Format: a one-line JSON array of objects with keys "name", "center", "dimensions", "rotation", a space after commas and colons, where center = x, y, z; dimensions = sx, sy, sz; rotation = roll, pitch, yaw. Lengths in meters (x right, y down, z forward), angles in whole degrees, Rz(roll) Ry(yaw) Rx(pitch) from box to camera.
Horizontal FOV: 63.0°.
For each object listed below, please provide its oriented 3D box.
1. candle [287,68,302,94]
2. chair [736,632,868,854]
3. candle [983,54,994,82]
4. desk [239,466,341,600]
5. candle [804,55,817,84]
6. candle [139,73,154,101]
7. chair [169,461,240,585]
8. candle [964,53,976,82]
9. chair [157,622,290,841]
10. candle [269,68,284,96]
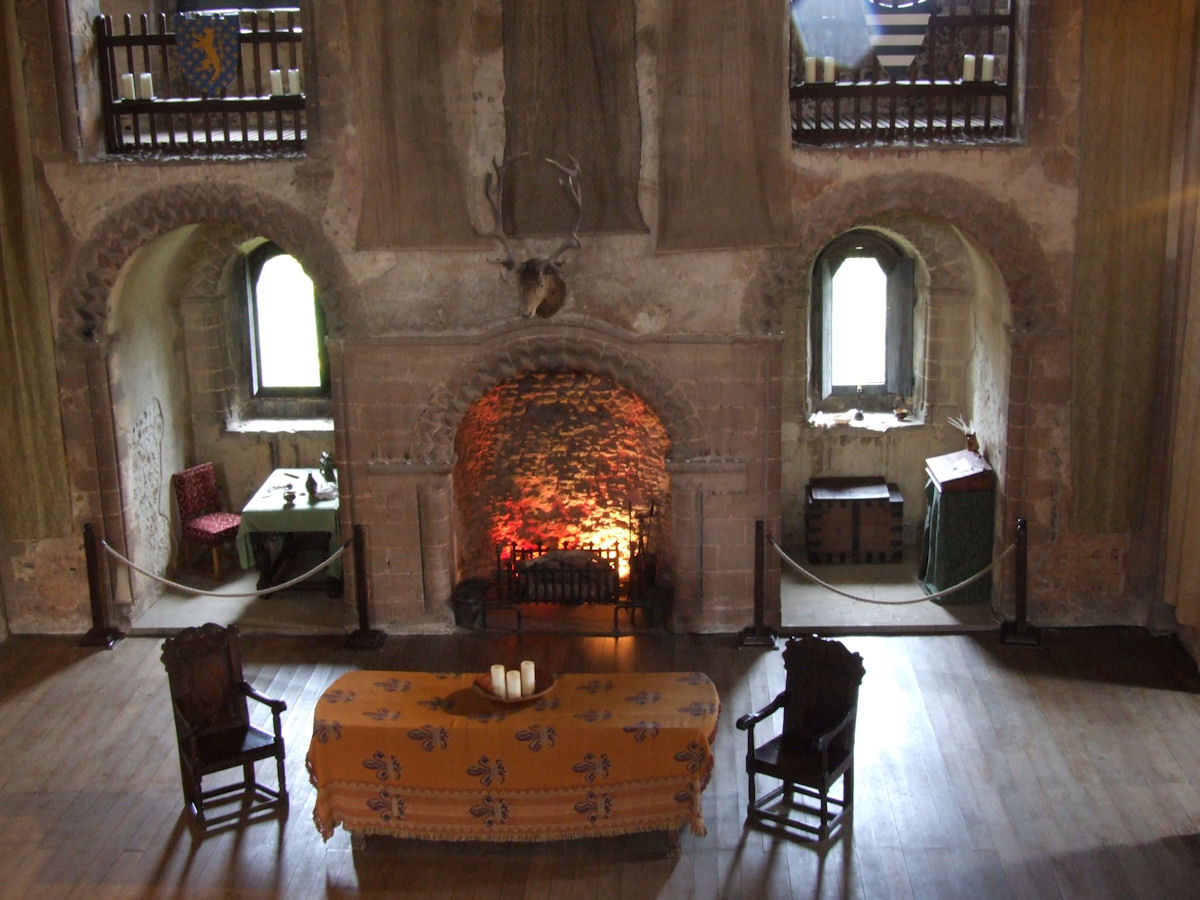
[{"name": "candle", "center": [-2.859, -3.461, 9.179], "dimensions": [0.130, 0.304, 0.328], "rotation": [-3, 5, -16]}, {"name": "chair", "center": [1.438, 2.026, 6.933], "dimensions": [0.822, 1.385, 0.838], "rotation": [-1, 5, 10]}, {"name": "candle", "center": [3.542, -3.508, 8.964], "dimensions": [0.167, 0.215, 0.080], "rotation": [-6, 7, -43]}, {"name": "desk", "center": [-3.549, 1.150, 11.175], "dimensions": [1.184, 0.933, 1.562], "rotation": [0, -7, -25]}, {"name": "candle", "center": [1.921, -3.446, 8.913], "dimensions": [0.101, 0.230, 0.282], "rotation": [0, 5, 15]}, {"name": "candle", "center": [-4.277, -3.431, 9.225], "dimensions": [0.123, 0.239, 0.253], "rotation": [-5, 6, -33]}, {"name": "chair", "center": [-4.384, 0.815, 11.174], "dimensions": [0.797, 1.183, 0.866], "rotation": [-1, 14, -9]}, {"name": "candle", "center": [3.409, -3.536, 9.040], "dimensions": [0.125, 0.268, 0.426], "rotation": [0, 5, 20]}, {"name": "chair", "center": [-2.751, 1.997, 7.237], "dimensions": [0.788, 1.435, 0.891], "rotation": [-5, 6, -36]}, {"name": "candle", "center": [-3.001, -3.437, 9.154], "dimensions": [0.126, 0.263, 0.219], "rotation": [-3, 5, -19]}]
